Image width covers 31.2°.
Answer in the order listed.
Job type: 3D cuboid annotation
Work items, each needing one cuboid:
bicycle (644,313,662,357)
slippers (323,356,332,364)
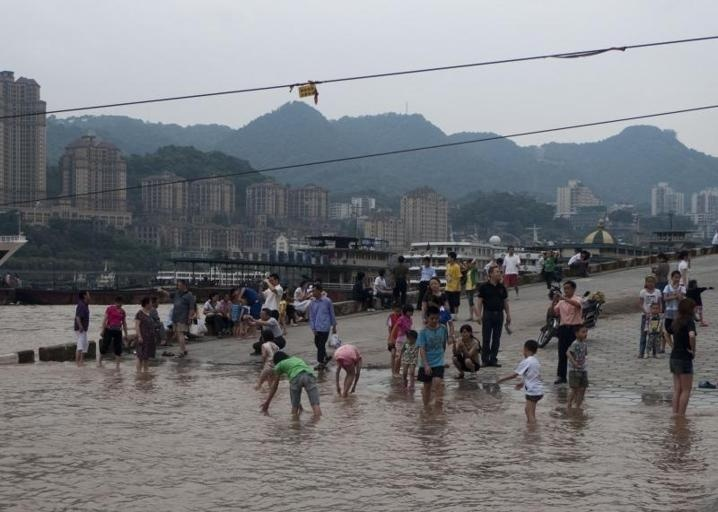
[{"bbox_3d":[8.541,2.303,37.150,0.453,1.242,0.774,-1,0,17],"label":"bicycle"},{"bbox_3d":[-0.913,3.047,37.494,0.208,0.221,0.223,0,-45,-3],"label":"slippers"}]
